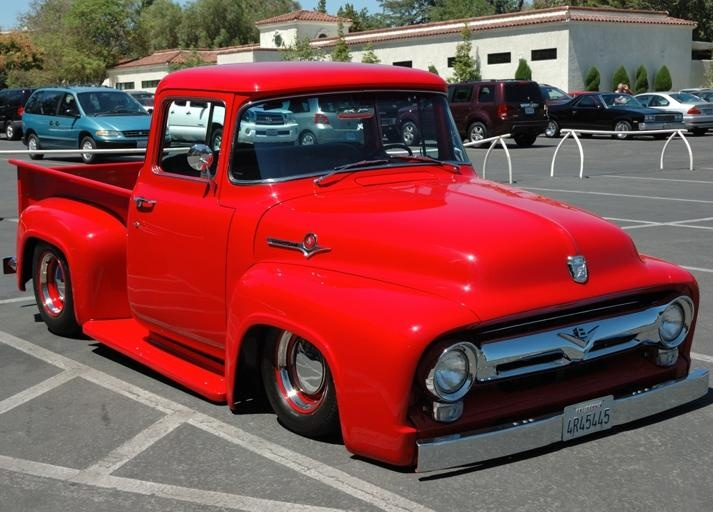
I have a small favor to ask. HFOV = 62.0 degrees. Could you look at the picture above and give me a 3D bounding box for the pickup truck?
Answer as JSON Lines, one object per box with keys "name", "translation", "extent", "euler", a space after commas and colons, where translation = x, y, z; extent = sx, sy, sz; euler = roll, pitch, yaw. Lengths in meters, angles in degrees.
{"name": "pickup truck", "translation": [-0.505, -0.059, 4.936], "extent": [2.792, 1.992, 4.987], "euler": [-8, 15, -39]}
